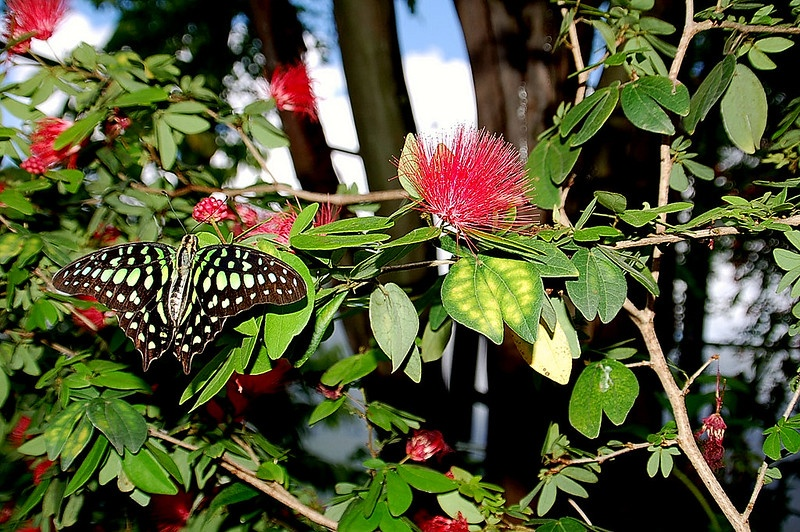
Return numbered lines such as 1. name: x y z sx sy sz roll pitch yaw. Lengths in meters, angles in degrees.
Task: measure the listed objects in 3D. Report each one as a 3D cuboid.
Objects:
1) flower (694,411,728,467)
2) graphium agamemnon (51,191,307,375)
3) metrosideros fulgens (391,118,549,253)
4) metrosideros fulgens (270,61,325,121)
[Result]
1. flower: 1.004 0.579 2.536 0.081 0.227 0.214 -3 4 21
2. graphium agamemnon: -0.651 0.107 2.312 0.772 0.415 0.080 2 -23 5
3. metrosideros fulgens: 0.172 -0.288 2.341 0.373 0.243 0.465 14 0 15
4. metrosideros fulgens: -0.384 -0.621 2.752 0.107 0.209 0.225 -2 5 38
